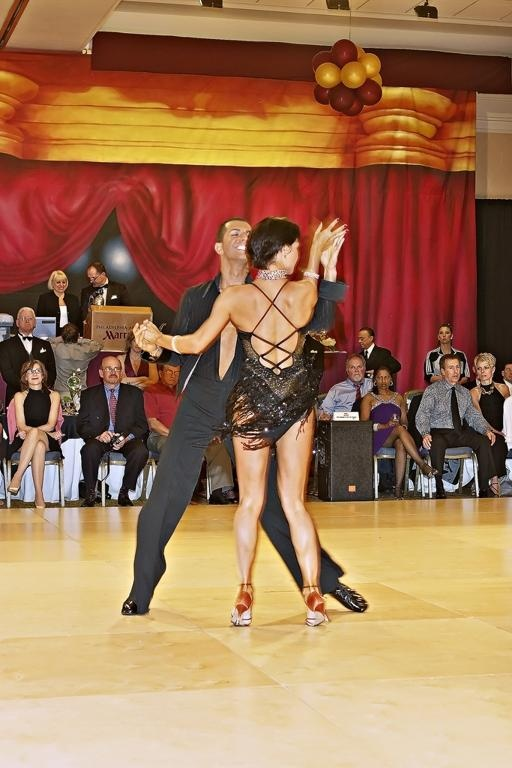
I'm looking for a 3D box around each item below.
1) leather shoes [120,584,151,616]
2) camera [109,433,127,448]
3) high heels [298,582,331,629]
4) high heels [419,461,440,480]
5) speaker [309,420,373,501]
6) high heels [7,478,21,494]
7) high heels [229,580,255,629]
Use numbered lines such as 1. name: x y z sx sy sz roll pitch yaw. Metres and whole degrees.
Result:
1. leather shoes: -0.493 0.881 2.536 0.062 0.072 0.174 3 -5 -4
2. camera: -1.494 0.612 6.818 0.140 0.138 0.049 31 -9 -13
3. high heels: 0.220 0.823 2.305 0.061 0.072 0.175 -8 -1 -4
4. high heels: 1.982 0.991 7.222 0.100 0.091 0.279 -13 7 28
5. speaker: 0.953 0.864 7.429 0.805 1.431 0.844 0 -3 8
6. high heels: -2.457 1.050 6.378 0.079 0.094 0.246 3 -9 -11
7. high heels: -0.057 0.818 2.303 0.061 0.068 0.176 1 9 1
